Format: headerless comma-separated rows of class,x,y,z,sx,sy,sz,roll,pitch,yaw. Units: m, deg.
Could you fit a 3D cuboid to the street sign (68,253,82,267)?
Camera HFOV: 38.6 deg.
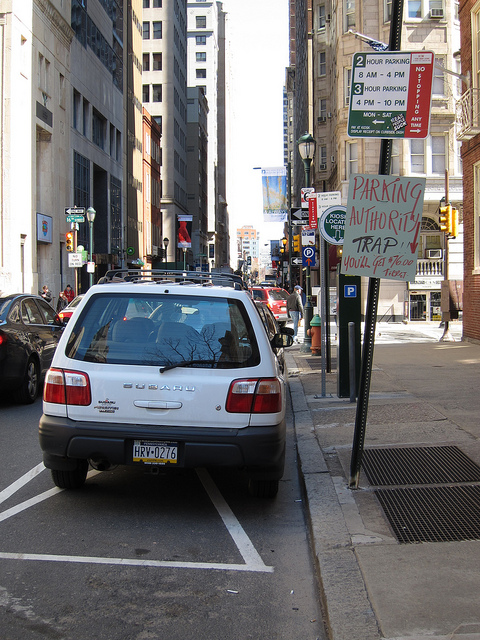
street sign,-6.788,-2.475,28.256,0.410,0.587,0.482,-1,6,-4

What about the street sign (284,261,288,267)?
street sign,4.545,-5.585,68.065,0.394,0.781,0.343,0,-4,2

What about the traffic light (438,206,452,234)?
traffic light,6.722,-3.305,22.383,0.360,0.934,0.939,-1,1,28

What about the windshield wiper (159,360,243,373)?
windshield wiper,-0.261,0.300,4.564,0.551,0.074,0.036,-2,1,-8

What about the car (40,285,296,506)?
car,-0.455,0.482,5.361,0.959,1.112,1.785,1,5,4

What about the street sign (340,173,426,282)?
street sign,1.015,-0.672,4.897,0.590,0.799,0.286,-1,1,19

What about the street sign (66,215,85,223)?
street sign,-7.079,-4.370,29.399,0.647,0.433,0.125,-1,-4,8

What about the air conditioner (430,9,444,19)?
air conditioner,9.790,-15.240,34.058,0.552,0.444,0.444,-2,3,-8

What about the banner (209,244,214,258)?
banner,-5.415,-13.107,130.031,0.856,2.400,0.754,-1,1,0

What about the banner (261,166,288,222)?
banner,2.583,-9.566,51.784,1.770,4.322,2.539,-1,1,3

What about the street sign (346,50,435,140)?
street sign,1.069,-1.611,4.884,0.589,0.668,0.396,-1,1,12

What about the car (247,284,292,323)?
car,1.256,-0.728,29.544,1.052,1.287,2.706,-1,5,-14

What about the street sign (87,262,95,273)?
street sign,-6.635,-2.365,30.449,0.325,0.475,0.683,2,-6,-9

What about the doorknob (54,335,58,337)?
doorknob,-3.085,0.258,11.484,0.055,0.018,0.034,-2,1,-1

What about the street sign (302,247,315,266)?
street sign,1.832,-1.730,18.338,0.374,0.760,0.063,0,8,1
